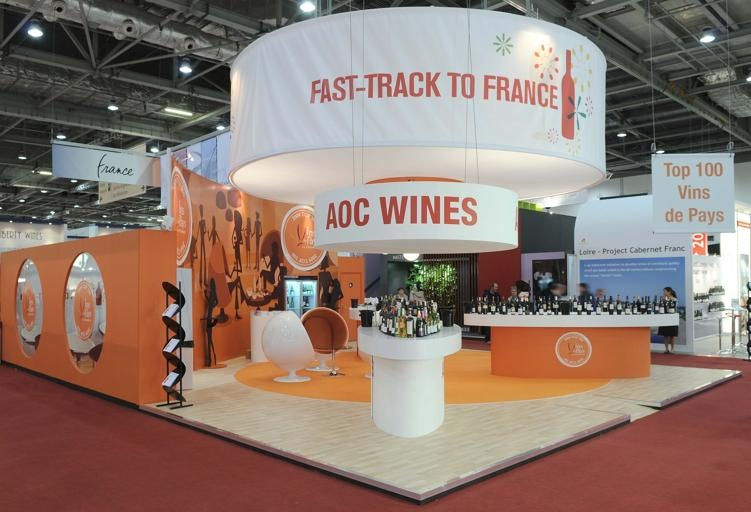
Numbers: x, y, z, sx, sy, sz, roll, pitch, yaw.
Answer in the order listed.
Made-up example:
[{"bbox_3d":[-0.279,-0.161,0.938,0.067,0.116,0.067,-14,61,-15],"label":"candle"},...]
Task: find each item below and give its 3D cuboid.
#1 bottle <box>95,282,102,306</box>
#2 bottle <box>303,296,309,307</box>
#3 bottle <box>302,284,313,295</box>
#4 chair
[{"bbox_3d":[-4.605,0.643,9.654,0.065,0.338,0.246,-9,14,-43],"label":"bottle"},{"bbox_3d":[-1.634,1.078,13.747,0.138,0.215,0.194,-5,-10,44],"label":"bottle"},{"bbox_3d":[-1.633,0.775,13.737,0.101,0.215,0.215,-10,-13,39],"label":"bottle"},{"bbox_3d":[-1.355,1.621,10.664,1.128,1.365,1.411,-6,-10,38],"label":"chair"}]
